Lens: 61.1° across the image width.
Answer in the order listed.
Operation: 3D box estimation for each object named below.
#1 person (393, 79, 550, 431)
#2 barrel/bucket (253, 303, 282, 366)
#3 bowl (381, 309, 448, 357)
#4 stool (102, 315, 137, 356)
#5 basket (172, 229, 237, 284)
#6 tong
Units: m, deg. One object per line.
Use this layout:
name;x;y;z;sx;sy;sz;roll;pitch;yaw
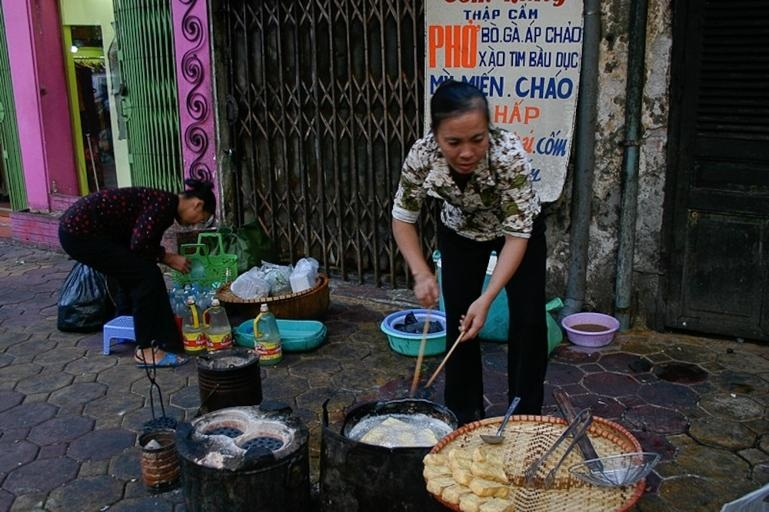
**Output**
person;0.484;0.078;4.505;0.968;2.588;1.014;4;7;38
barrel/bucket;-1.095;0.721;6.071;0.258;0.593;0.223;-4;15;-12
bowl;0.298;0.731;6.225;0.632;0.518;0.637;-4;-7;-1
stool;-2.588;0.760;6.485;0.385;0.303;0.396;0;2;5
basket;-1.912;0.047;6.968;0.611;0.601;0.377;3;9;-13
tong;1.008;1.097;3.749;0.192;0.325;0.507;11;19;41
